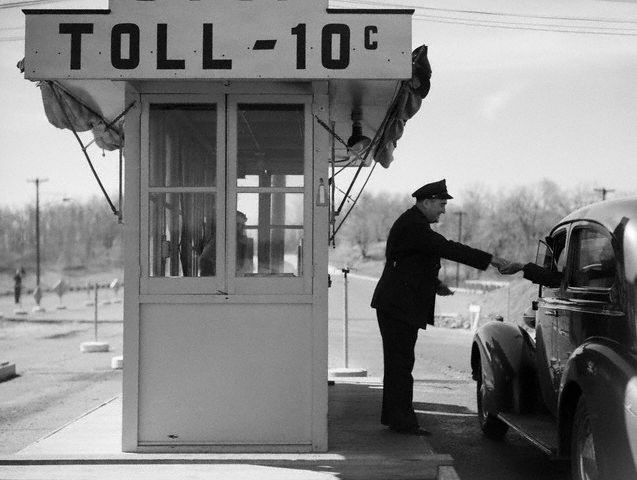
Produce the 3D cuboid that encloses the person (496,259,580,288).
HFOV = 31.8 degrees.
[{"bbox_3d":[2.224,0.366,11.516,0.874,0.256,0.260,10,45,-1],"label":"person"}]
